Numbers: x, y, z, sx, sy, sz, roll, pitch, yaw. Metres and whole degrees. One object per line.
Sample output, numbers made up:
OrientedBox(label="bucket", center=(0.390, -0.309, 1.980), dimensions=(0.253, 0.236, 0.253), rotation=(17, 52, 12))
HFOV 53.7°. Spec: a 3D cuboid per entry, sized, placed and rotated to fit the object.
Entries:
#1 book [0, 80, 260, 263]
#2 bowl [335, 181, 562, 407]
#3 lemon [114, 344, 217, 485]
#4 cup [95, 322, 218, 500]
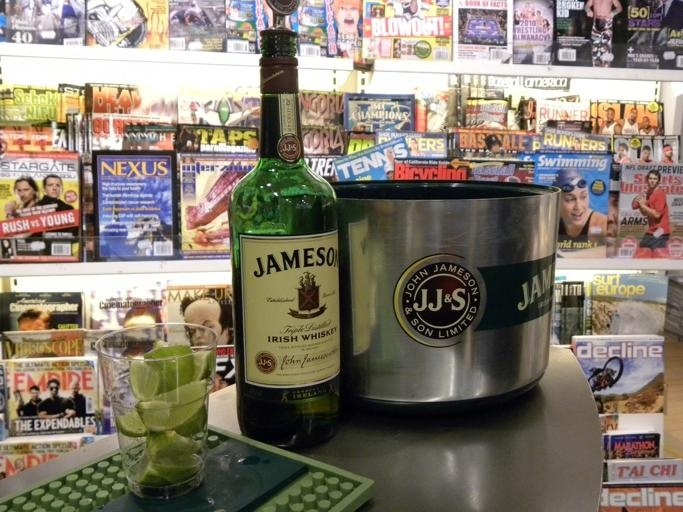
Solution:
OrientedBox(label="book", center=(-0.688, -0.187, 2.298), dimensions=(1.008, 0.708, 0.523), rotation=(-1, 4, -10))
OrientedBox(label="bowl", center=(0.183, 0.049, 1.247), dimensions=(0.410, 0.352, 0.450), rotation=(-1, 11, 0))
OrientedBox(label="lemon", center=(-0.209, 0.228, 1.007), dimensions=(0.172, 0.212, 0.168), rotation=(-1, -9, -3))
OrientedBox(label="cup", center=(-0.263, 0.218, 1.088), dimensions=(0.209, 0.266, 0.218), rotation=(-1, 5, 0))
